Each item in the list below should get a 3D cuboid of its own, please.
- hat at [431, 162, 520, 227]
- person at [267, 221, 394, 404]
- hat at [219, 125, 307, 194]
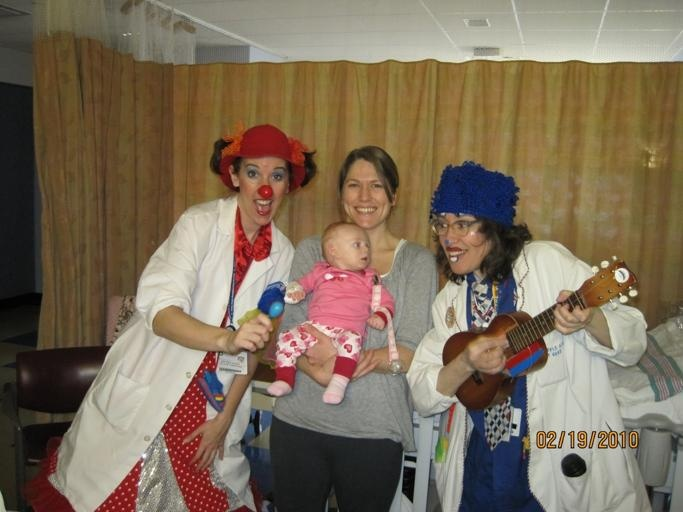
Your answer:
[{"bbox_3d":[0.710,-0.306,3.468,0.346,0.327,0.449,2,-13,26],"label":"hat"},{"bbox_3d":[-0.011,0.294,3.423,0.549,0.374,1.258,3,42,11],"label":"person"},{"bbox_3d":[-0.422,-0.586,3.508,0.374,0.238,0.405,9,-23,-21],"label":"hat"}]
